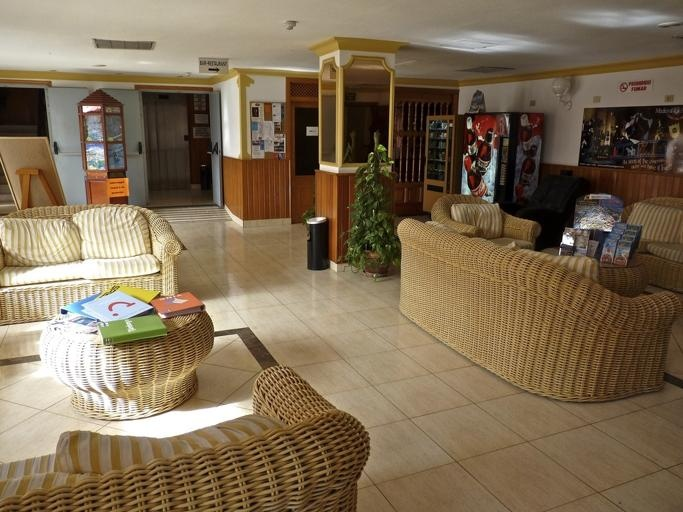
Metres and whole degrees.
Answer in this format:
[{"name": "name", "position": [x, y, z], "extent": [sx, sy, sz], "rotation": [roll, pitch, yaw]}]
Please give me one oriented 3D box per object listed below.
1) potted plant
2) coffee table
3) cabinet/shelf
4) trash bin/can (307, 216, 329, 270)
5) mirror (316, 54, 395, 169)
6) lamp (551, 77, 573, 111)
[{"name": "potted plant", "position": [0.392, -0.611, 6.450], "extent": [0.754, 1.802, 0.831], "rotation": [-1, 18, 2]}, {"name": "coffee table", "position": [-1.670, 0.841, 3.679], "extent": [1.227, 0.548, 1.142], "rotation": [-5, 3, -11]}, {"name": "cabinet/shelf", "position": [2.356, -2.056, 10.458], "extent": [0.624, 2.060, 0.895], "rotation": [-20, 29, -31]}, {"name": "trash bin/can", "position": [-0.372, -0.161, 6.802], "extent": [0.323, 0.756, 0.157], "rotation": [-4, 19, -6]}, {"name": "mirror", "position": [0.154, -1.992, 6.477], "extent": [1.104, 1.590, 0.782], "rotation": [-1, 18, 3]}, {"name": "lamp", "position": [4.061, -2.994, 8.498], "extent": [0.294, 0.556, 0.360], "rotation": [-19, 24, -41]}]
